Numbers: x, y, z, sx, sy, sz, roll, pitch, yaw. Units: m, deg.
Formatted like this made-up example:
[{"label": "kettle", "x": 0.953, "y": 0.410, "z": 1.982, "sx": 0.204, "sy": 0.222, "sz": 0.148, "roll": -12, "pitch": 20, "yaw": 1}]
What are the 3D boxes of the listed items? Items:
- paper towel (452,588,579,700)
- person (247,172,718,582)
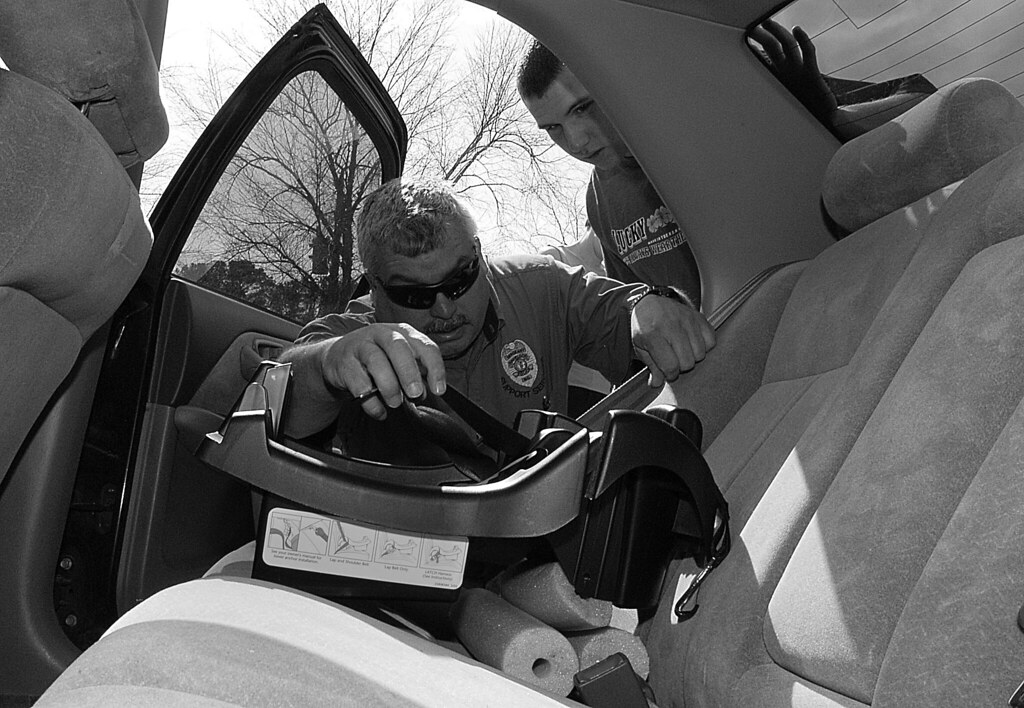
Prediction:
[{"label": "paper towel", "x": 0.006, "y": 0.363, "z": 0.864, "sx": 0.111, "sy": 0.103, "sz": 0.144, "roll": 0, "pitch": 2, "yaw": -10}, {"label": "person", "x": -0.113, "y": -0.090, "z": 1.386, "sx": 0.640, "sy": 0.712, "sz": 0.966, "roll": -23, "pitch": -12, "yaw": 5}]
